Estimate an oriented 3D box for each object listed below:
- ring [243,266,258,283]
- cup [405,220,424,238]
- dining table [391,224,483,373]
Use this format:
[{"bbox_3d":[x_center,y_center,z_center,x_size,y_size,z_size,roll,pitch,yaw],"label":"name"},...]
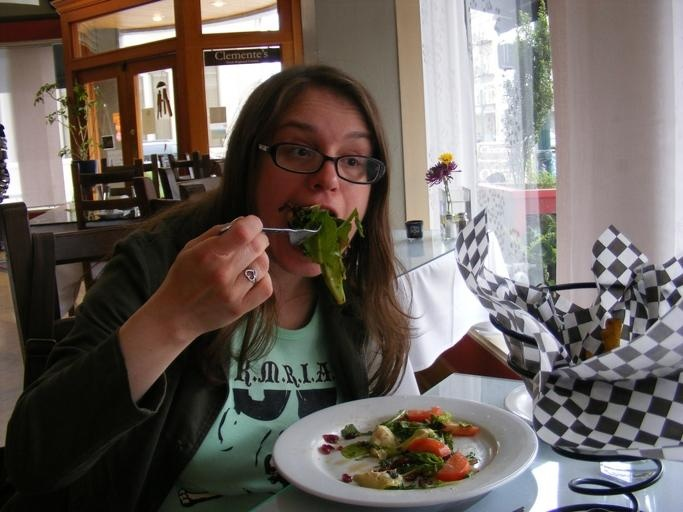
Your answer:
[{"bbox_3d":[-0.162,0.035,0.915,0.024,0.028,0.013,-2,9,-17],"label":"ring"},{"bbox_3d":[0.439,-0.162,3.066,0.089,0.107,0.099,-1,4,4],"label":"cup"},{"bbox_3d":[0.425,0.181,2.551,0.487,0.327,0.590,8,14,41],"label":"dining table"}]
